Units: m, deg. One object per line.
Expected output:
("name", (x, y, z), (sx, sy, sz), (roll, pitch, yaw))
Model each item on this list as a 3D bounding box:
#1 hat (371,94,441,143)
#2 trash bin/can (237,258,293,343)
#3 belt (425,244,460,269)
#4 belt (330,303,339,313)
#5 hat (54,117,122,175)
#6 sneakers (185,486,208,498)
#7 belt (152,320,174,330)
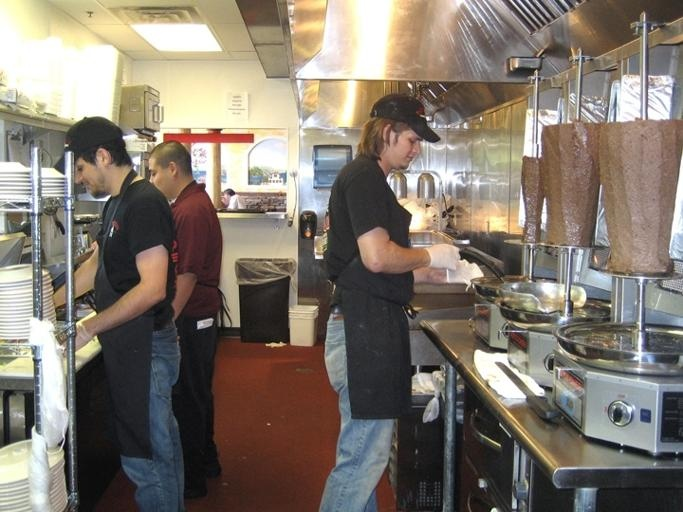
("hat", (0.276, -0.563, 2.428), (0.273, 0.144, 0.171), (16, 17, -3))
("trash bin/can", (-0.789, 0.455, 6.167), (0.700, 1.023, 0.747), (0, -3, -5))
("belt", (0.431, 0.003, 2.506), (0.138, 0.091, 0.051), (-1, 7, -3))
("belt", (-0.028, 0.213, 2.437), (0.035, 0.028, 0.035), (2, 0, -7))
("hat", (-1.078, -0.489, 2.533), (0.235, 0.144, 0.167), (-9, 12, -10))
("sneakers", (-0.792, 1.279, 3.222), (0.124, 0.054, 0.046), (2, -2, -23))
("belt", (-0.785, 0.296, 2.563), (0.053, 0.031, 0.092), (-3, -4, -1))
